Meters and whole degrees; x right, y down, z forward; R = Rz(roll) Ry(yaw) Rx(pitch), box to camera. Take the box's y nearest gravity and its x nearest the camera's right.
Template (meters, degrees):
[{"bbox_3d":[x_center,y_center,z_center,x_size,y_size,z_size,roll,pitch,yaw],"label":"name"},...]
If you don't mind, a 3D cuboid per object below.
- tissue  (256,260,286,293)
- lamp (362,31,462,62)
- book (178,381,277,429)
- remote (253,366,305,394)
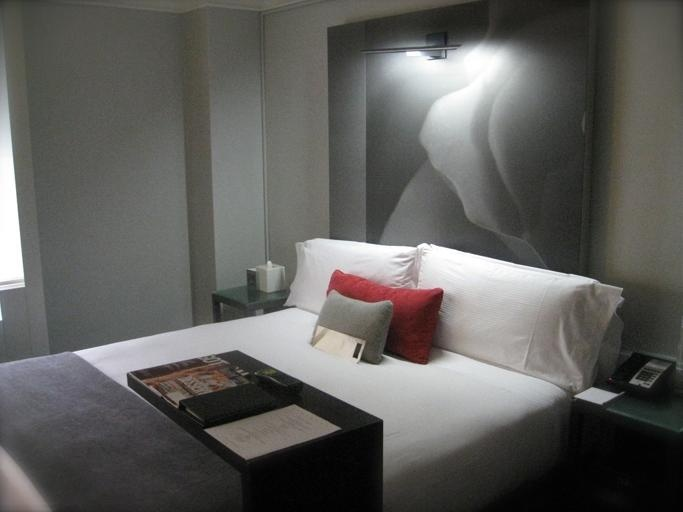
[{"bbox_3d":[-0.217,0.064,1.684,0.083,0.121,0.083,-9,20,-39],"label":"tissue "},{"bbox_3d":[0.220,-0.665,1.738,0.338,0.081,0.112,5,14,21],"label":"lamp"},{"bbox_3d":[-0.172,0.232,0.862,0.089,0.016,0.065,-10,29,-33],"label":"book"},{"bbox_3d":[-0.110,0.213,0.931,0.063,0.015,0.039,24,20,33],"label":"remote"}]
